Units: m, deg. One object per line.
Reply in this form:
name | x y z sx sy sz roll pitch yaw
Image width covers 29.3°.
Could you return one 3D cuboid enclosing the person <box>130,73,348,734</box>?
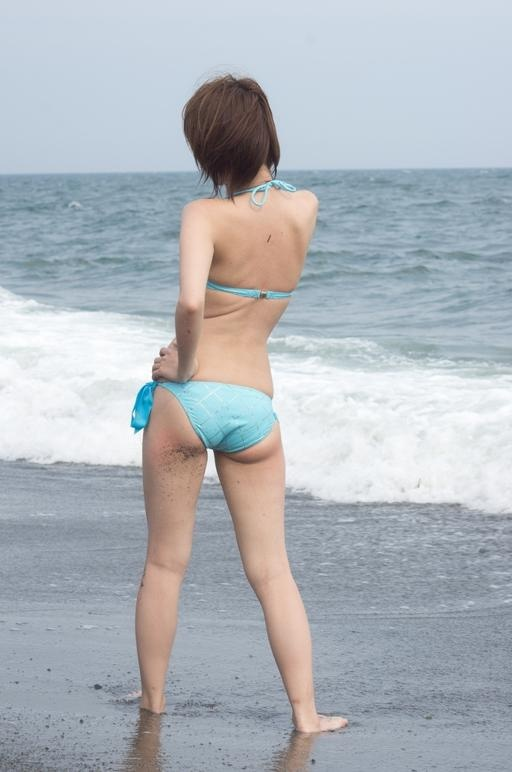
person | -0.050 0.049 2.723 0.575 1.804 0.419 3 8 -7
